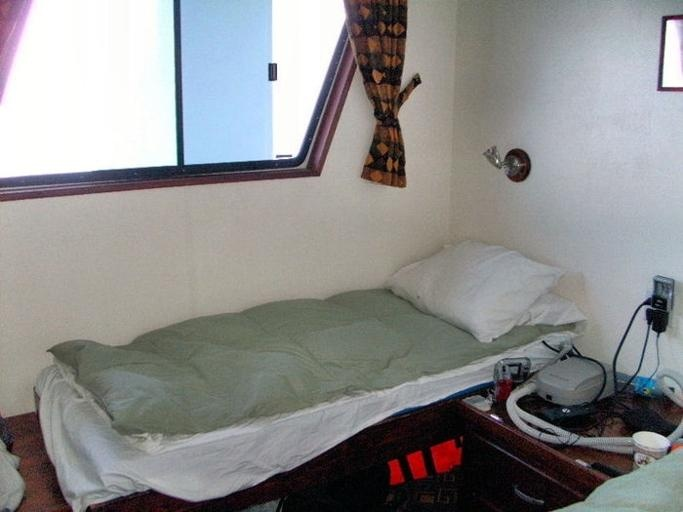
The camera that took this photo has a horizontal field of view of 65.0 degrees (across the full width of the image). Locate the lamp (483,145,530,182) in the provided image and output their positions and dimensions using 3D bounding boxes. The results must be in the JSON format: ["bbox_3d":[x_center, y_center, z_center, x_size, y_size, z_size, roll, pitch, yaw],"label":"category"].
[{"bbox_3d":[1.040,-0.589,3.341,0.316,0.112,0.245,6,31,26],"label":"lamp"}]

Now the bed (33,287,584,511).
[{"bbox_3d":[-0.161,0.593,2.566,2.137,0.398,1.104,-11,27,-30],"label":"bed"}]

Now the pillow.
[{"bbox_3d":[0.753,0.124,3.147,0.581,0.233,0.738,-30,35,-23],"label":"pillow"}]
